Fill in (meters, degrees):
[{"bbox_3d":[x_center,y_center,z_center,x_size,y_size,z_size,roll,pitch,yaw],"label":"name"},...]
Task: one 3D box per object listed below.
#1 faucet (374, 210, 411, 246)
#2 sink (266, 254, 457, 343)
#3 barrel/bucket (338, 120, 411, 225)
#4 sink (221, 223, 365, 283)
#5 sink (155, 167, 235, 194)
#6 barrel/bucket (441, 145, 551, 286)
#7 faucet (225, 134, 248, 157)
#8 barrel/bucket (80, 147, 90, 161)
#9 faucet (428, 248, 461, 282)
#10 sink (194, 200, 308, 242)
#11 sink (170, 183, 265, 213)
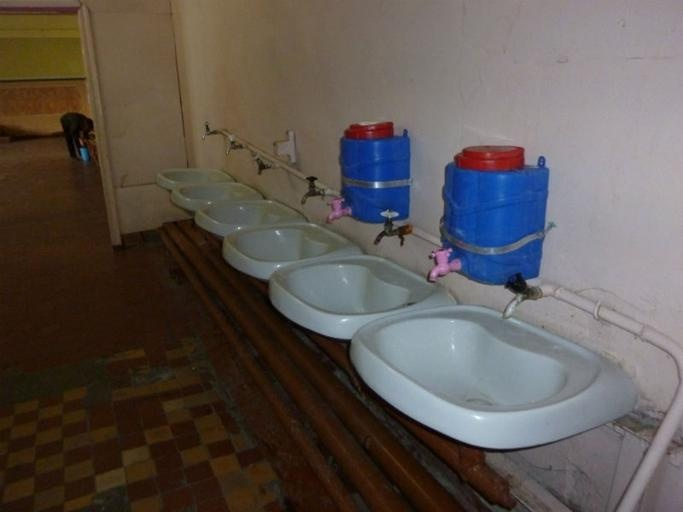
[{"bbox_3d":[0.193,-0.105,2.064,0.150,0.152,0.082,-5,22,-10],"label":"faucet"},{"bbox_3d":[0.000,0.143,2.071,0.410,0.147,0.425,-10,23,-31],"label":"sink"},{"bbox_3d":[0.142,-0.337,2.096,0.200,0.350,0.334,-11,23,-26],"label":"barrel/bucket"},{"bbox_3d":[-0.339,-0.061,2.580,0.393,0.142,0.411,-10,25,-28],"label":"sink"},{"bbox_3d":[-1.134,-0.569,3.838,0.372,0.095,0.312,-11,26,-32],"label":"sink"},{"bbox_3d":[0.487,-0.131,1.678,0.369,0.418,0.174,6,22,12],"label":"barrel/bucket"},{"bbox_3d":[-0.698,-0.744,3.512,0.138,0.135,0.095,-30,47,-33],"label":"faucet"},{"bbox_3d":[-3.925,-1.579,8.063,0.131,0.216,0.130,3,33,-2],"label":"barrel/bucket"},{"bbox_3d":[0.338,0.039,1.772,0.107,0.108,0.043,-8,-14,0],"label":"faucet"},{"bbox_3d":[-0.587,-0.244,2.979,0.352,0.101,0.367,-10,23,-31],"label":"sink"},{"bbox_3d":[-0.874,-0.397,3.396,0.364,0.097,0.331,-11,23,-31],"label":"sink"}]
